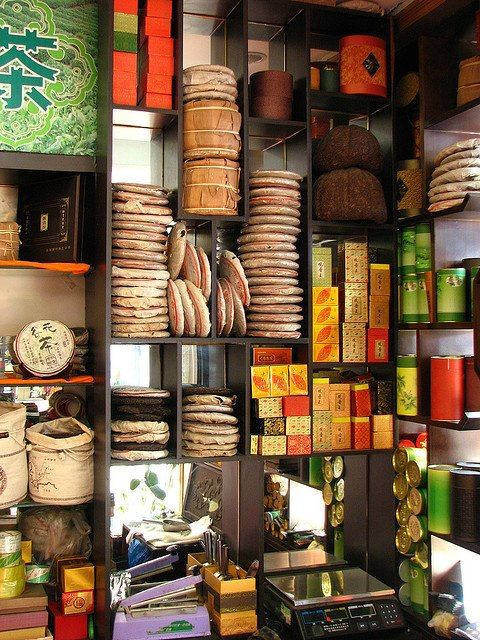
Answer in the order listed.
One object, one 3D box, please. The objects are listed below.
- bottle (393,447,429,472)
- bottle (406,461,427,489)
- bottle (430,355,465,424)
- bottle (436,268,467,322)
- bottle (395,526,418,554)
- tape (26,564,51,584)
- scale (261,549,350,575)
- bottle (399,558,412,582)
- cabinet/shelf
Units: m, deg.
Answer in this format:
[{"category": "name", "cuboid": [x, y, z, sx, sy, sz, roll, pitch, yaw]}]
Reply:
[{"category": "bottle", "cuboid": [0.615, 0.510, 2.127, 0.118, 0.102, 0.103, 0, -18, -5]}, {"category": "bottle", "cuboid": [0.623, 0.549, 2.058, 0.085, 0.088, 0.084, -1, -6, 21]}, {"category": "bottle", "cuboid": [0.667, 0.228, 1.869, 0.106, 0.215, 0.055, 0, -2, 30]}, {"category": "bottle", "cuboid": [0.705, -0.084, 1.922, 0.092, 0.193, 0.104, 1, -2, -14]}, {"category": "bottle", "cuboid": [0.599, 0.815, 2.116, 0.091, 0.089, 0.088, -1, -1, 6]}, {"category": "tape", "cuboid": [-0.687, 0.851, 1.951, 0.076, 0.047, 0.077, -2, -5, 34]}, {"category": "scale", "cuboid": [0.224, 0.914, 2.181, 0.208, 0.045, 0.202, 1, -1, -19]}, {"category": "bottle", "cuboid": [0.602, 0.928, 2.128, 0.016, 0.064, 0.066, 6, 2, 6]}, {"category": "cabinet/shelf", "cuboid": [0.090, -0.064, 2.042, 1.448, 2.162, 0.661, 1, -2, -19]}]
